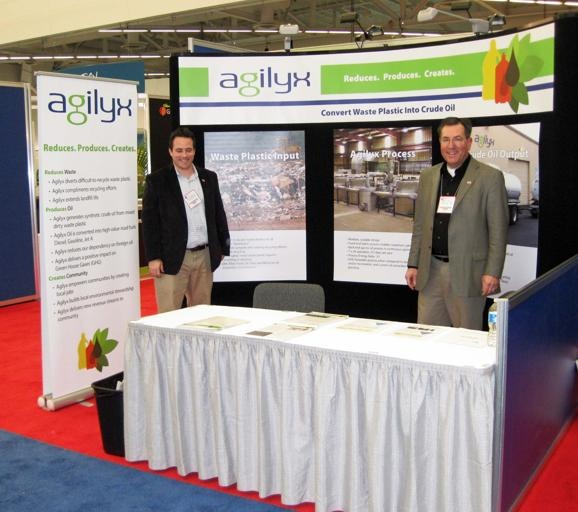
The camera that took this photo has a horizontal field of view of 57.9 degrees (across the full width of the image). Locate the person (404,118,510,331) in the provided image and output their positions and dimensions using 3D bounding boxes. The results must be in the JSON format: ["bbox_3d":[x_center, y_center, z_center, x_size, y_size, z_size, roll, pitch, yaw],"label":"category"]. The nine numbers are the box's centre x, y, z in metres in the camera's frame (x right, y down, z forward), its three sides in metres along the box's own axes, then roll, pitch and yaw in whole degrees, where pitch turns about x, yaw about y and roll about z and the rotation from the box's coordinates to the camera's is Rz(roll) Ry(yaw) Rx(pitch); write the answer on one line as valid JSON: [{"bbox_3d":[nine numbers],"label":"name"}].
[{"bbox_3d":[1.060,-0.019,3.385,0.537,1.792,0.373,6,29,27],"label":"person"}]

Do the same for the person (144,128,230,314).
[{"bbox_3d":[-0.751,-0.116,4.001,0.544,1.731,0.381,-9,37,-20],"label":"person"}]
